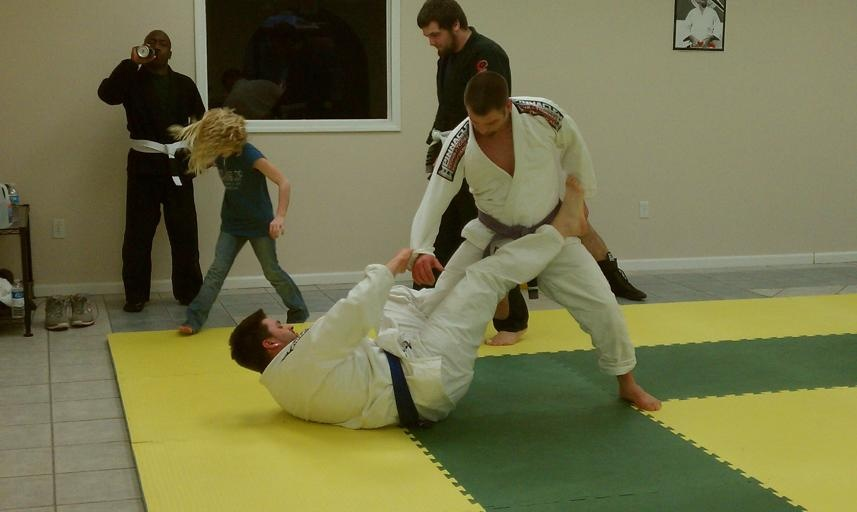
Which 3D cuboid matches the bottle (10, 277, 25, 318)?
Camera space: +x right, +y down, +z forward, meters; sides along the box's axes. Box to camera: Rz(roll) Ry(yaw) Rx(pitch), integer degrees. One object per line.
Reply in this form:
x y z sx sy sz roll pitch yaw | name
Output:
-2.953 0.326 4.769 0.082 0.299 0.202 -6 14 -31 | bottle

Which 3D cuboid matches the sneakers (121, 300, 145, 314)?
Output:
-2.314 0.397 5.207 0.104 0.093 0.224 0 -1 -18 | sneakers

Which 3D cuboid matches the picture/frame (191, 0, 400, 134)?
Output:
-1.191 -1.662 5.661 1.467 1.483 0.066 0 6 -6 | picture/frame

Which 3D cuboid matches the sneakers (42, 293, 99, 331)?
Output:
-2.603 0.407 4.777 0.408 0.284 0.233 0 -2 -24 | sneakers

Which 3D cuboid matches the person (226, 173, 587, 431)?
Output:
0.064 0.297 3.820 2.053 0.921 0.978 -15 -1 -6 | person

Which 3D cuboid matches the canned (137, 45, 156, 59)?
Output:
-2.143 -1.562 5.039 0.111 0.110 0.112 5 10 -18 | canned
